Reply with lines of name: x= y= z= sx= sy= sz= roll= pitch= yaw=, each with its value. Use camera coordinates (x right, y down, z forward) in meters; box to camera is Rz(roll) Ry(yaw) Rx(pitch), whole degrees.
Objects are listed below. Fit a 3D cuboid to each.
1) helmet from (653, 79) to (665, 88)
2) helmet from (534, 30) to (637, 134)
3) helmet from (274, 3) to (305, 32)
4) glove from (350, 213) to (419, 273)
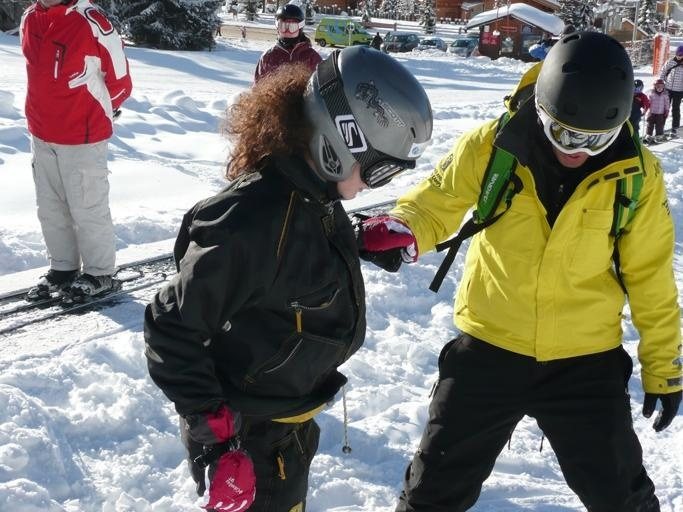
helmet: x=6.563 y=-3.543 z=14.817 sx=0.152 sy=0.175 sz=0.192 roll=-5 pitch=5 yaw=0
helmet: x=1.119 y=-0.874 z=3.586 sx=0.399 sy=0.425 sz=0.526 roll=1 pitch=26 yaw=-9
helmet: x=-0.548 y=-2.546 z=7.717 sx=0.303 sy=0.298 sz=0.331 roll=5 pitch=16 yaw=-8
glove: x=0.196 y=-0.091 z=3.833 sx=0.349 sy=0.259 sz=0.159 roll=16 pitch=56 yaw=37
